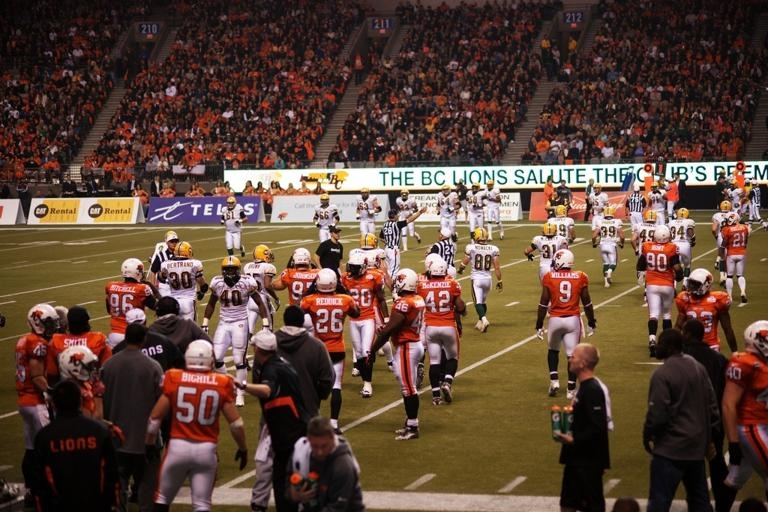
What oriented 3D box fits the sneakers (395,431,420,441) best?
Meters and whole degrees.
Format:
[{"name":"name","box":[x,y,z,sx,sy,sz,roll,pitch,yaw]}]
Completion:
[{"name":"sneakers","box":[0.384,2.809,12.035,0.339,0.149,0.137,2,-2,-3]}]

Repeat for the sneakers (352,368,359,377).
[{"name":"sneakers","box":[-0.563,2.357,15.666,0.131,0.172,0.375,-1,-14,2]}]

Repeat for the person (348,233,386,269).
[{"name":"person","box":[-0.346,-0.137,16.048,0.557,0.573,0.917,-4,24,-13]}]

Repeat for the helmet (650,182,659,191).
[{"name":"helmet","box":[10.398,-2.668,29.676,0.227,0.337,0.401,-2,-1,20]}]

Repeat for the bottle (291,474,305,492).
[{"name":"bottle","box":[-0.811,2.130,7.296,0.122,0.133,0.164,-1,-1,-20]}]

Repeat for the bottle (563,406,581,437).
[{"name":"bottle","box":[2.081,1.846,8.667,0.085,0.307,0.175,-2,-1,38]}]

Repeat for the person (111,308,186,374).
[{"name":"person","box":[-3.132,1.146,10.410,0.453,1.077,0.356,-12,39,-12]}]

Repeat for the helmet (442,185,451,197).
[{"name":"helmet","box":[2.564,-2.649,31.272,0.346,0.410,0.460,-3,-20,8]}]

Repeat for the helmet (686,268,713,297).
[{"name":"helmet","box":[4.879,0.415,12.012,0.361,0.445,0.405,-2,-1,21]}]

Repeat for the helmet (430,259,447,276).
[{"name":"helmet","box":[0.945,0.198,13.129,0.216,0.244,0.293,1,17,3]}]

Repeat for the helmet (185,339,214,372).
[{"name":"helmet","box":[-2.072,1.120,8.689,0.274,0.311,0.351,0,16,-4]}]

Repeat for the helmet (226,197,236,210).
[{"name":"helmet","box":[-5.747,-2.038,29.443,0.340,0.354,0.505,-1,-1,-11]}]

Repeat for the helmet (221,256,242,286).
[{"name":"helmet","box":[-2.656,0.259,13.688,0.360,0.505,0.494,-1,-4,-6]}]

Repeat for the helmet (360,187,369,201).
[{"name":"helmet","box":[-0.680,-2.406,29.867,0.344,0.491,0.465,0,-7,2]}]

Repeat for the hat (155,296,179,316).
[{"name":"hat","box":[-3.124,0.735,11.223,0.233,0.323,0.314,-1,14,-9]}]

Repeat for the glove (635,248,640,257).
[{"name":"glove","box":[7.372,-0.131,22.483,0.094,0.263,0.182,3,-4,-4]}]

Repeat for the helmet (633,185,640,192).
[{"name":"helmet","box":[9.764,-2.610,29.724,0.234,0.291,0.313,2,11,7]}]

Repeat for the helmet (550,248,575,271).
[{"name":"helmet","box":[3.199,0.062,13.973,0.422,0.413,0.341,8,10,34]}]

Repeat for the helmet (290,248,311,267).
[{"name":"helmet","box":[-1.556,0.024,14.582,0.270,0.314,0.373,0,17,-3]}]

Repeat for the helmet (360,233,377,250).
[{"name":"helmet","box":[-0.382,-0.313,17.698,0.343,0.442,0.467,1,14,16]}]

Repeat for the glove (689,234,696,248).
[{"name":"glove","box":[8.419,-0.428,21.121,0.164,0.483,0.362,1,-12,17]}]

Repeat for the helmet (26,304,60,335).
[{"name":"helmet","box":[-4.546,0.849,10.399,0.434,0.409,0.337,6,7,8]}]

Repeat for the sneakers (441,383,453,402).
[{"name":"sneakers","box":[1.126,2.380,13.587,0.133,0.395,0.186,-3,20,8]}]

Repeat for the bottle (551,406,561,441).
[{"name":"bottle","box":[1.927,1.860,8.582,0.097,0.369,0.159,-2,-1,16]}]

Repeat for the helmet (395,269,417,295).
[{"name":"helmet","box":[0.400,0.403,12.551,0.293,0.396,0.394,-4,14,-22]}]

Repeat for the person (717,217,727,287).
[{"name":"person","box":[9.077,-0.145,20.742,0.379,1.899,0.656,2,6,27]}]

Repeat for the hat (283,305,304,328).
[{"name":"hat","box":[-1.148,0.763,9.849,0.229,0.287,0.289,0,8,-9]}]

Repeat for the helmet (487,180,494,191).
[{"name":"helmet","box":[4.642,-3.070,33.568,0.383,0.303,0.569,0,-4,15]}]

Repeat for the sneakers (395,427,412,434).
[{"name":"sneakers","box":[0.324,2.754,12.207,0.099,0.117,0.276,-2,-11,18]}]

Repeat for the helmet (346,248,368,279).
[{"name":"helmet","box":[-0.449,0.136,13.792,0.331,0.401,0.458,0,5,7]}]

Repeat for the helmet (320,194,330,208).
[{"name":"helmet","box":[-2.137,-2.038,28.423,0.439,0.555,0.566,-1,-1,5]}]

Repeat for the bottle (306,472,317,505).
[{"name":"bottle","box":[-0.664,2.200,7.302,0.105,0.253,0.128,-1,-1,3]}]

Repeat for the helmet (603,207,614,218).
[{"name":"helmet","box":[6.955,-1.319,23.812,0.296,0.342,0.412,0,-16,-1]}]

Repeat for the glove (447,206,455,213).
[{"name":"glove","box":[2.762,-1.897,31.152,0.268,0.211,0.325,-1,-1,-5]}]

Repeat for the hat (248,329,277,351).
[{"name":"hat","box":[-1.426,0.994,9.198,0.220,0.172,0.288,-2,8,-34]}]

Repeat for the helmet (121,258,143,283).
[{"name":"helmet","box":[-4.244,0.225,13.141,0.349,0.416,0.410,12,14,31]}]

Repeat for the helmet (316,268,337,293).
[{"name":"helmet","box":[-0.863,0.342,11.957,0.258,0.376,0.288,2,-22,-3]}]

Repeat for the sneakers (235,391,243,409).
[{"name":"sneakers","box":[-2.564,2.583,13.983,0.167,0.253,0.561,-1,-9,-3]}]

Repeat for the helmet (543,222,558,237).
[{"name":"helmet","box":[4.027,-0.692,18.729,0.274,0.338,0.355,3,27,6]}]

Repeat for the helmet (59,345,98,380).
[{"name":"helmet","box":[-3.491,1.242,9.006,0.410,0.347,0.315,-2,11,-11]}]

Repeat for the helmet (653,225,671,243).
[{"name":"helmet","box":[5.564,-0.447,15.470,0.297,0.343,0.309,-2,-1,17]}]

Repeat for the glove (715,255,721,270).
[{"name":"glove","box":[9.708,0.188,22.509,0.136,0.456,0.118,14,-7,-15]}]

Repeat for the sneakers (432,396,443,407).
[{"name":"sneakers","box":[0.956,2.559,13.602,0.139,0.123,0.266,-2,-9,4]}]

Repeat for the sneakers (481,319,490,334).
[{"name":"sneakers","box":[2.441,1.700,18.604,0.111,0.312,0.289,-1,17,-17]}]
